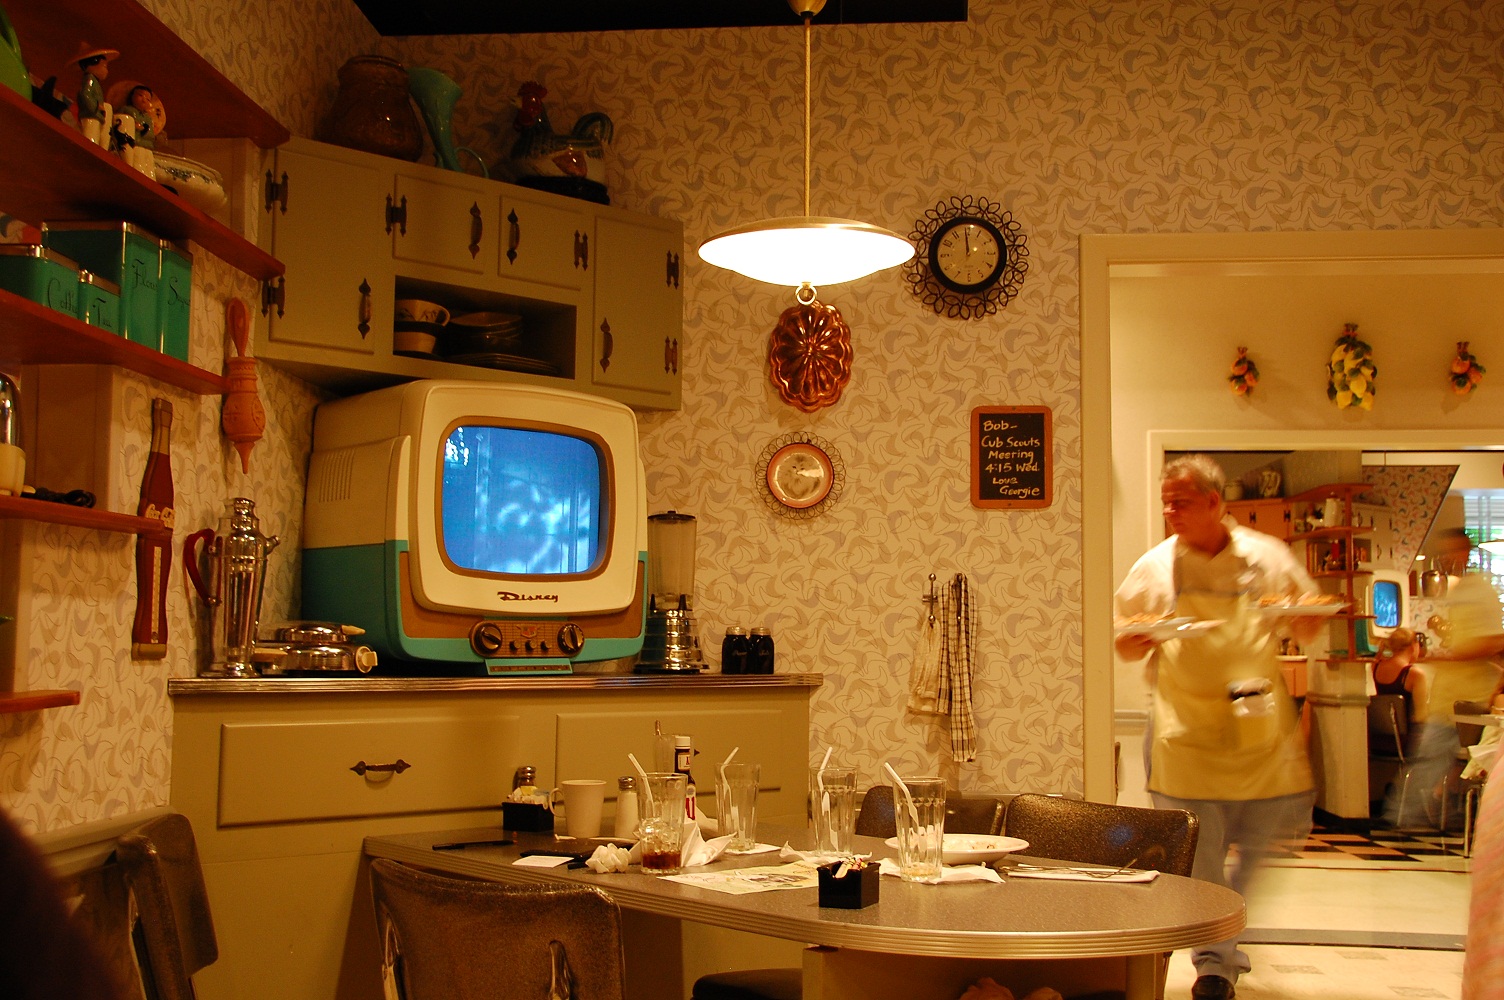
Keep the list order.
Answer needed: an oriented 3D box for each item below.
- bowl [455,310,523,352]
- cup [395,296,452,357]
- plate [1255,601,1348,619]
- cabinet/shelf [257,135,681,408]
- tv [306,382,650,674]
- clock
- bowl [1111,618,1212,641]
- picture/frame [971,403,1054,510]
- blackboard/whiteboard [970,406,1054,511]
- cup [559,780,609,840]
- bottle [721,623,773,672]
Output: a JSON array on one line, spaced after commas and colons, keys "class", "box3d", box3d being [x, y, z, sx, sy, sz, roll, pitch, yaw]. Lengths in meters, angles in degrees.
[{"class": "bowl", "box3d": [-0.892, -0.568, 4.054, 0.166, 0.067, 0.165, 0, -2, 0]}, {"class": "cup", "box3d": [-1.070, -0.559, 3.933, 0.190, 0.132, 0.158, 4, -8, -18]}, {"class": "plate", "box3d": [1.981, 0.405, 4.350, 0.274, 0.053, 0.347, -3, -9, 28]}, {"class": "cabinet/shelf", "box3d": [-0.956, -0.716, 3.935, 1.041, 0.477, 0.309, 5, -9, -33]}, {"class": "tv", "box3d": [-0.909, 0.107, 3.983, 0.994, 0.854, 0.720, 4, -5, -38]}, {"class": "clock", "box3d": [0.806, -0.921, 4.518, 0.436, 0.422, 0.043, -7, 11, -16]}, {"class": "bowl", "box3d": [1.467, 0.470, 4.339, 0.149, 0.068, 0.312, 7, -10, -37]}, {"class": "picture/frame", "box3d": [0.975, -0.147, 4.478, 0.408, 0.456, 0.021, 0, -4, -1]}, {"class": "blackboard/whiteboard", "box3d": [0.961, -0.157, 4.478, 0.346, 0.388, 0.010, -2, 4, -17]}, {"class": "cup", "box3d": [-0.411, 0.787, 3.089, 0.110, 0.137, 0.159, 3, -11, -27]}, {"class": "bottle", "box3d": [-0.027, 0.534, 4.154, 0.219, 0.197, 0.127, 1, -10, -10]}]
